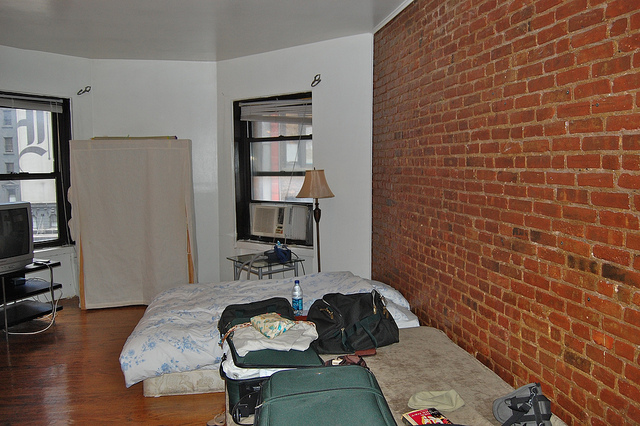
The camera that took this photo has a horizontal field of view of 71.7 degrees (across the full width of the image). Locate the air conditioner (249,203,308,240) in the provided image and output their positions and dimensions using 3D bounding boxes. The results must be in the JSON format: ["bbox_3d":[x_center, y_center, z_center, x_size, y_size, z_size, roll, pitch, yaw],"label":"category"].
[{"bbox_3d":[-0.528,0.156,6.246,0.995,0.482,0.495,3,0,27],"label":"air conditioner"}]

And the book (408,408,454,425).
[{"bbox_3d":[0.641,1.212,2.620,0.233,0.030,0.151,-2,13,-4],"label":"book"}]

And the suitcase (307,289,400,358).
[{"bbox_3d":[0.252,0.825,3.544,0.770,0.274,0.689,-11,21,-10],"label":"suitcase"}]

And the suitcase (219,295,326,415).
[{"bbox_3d":[-0.396,0.971,3.213,0.730,0.396,1.047,1,10,-15],"label":"suitcase"}]
